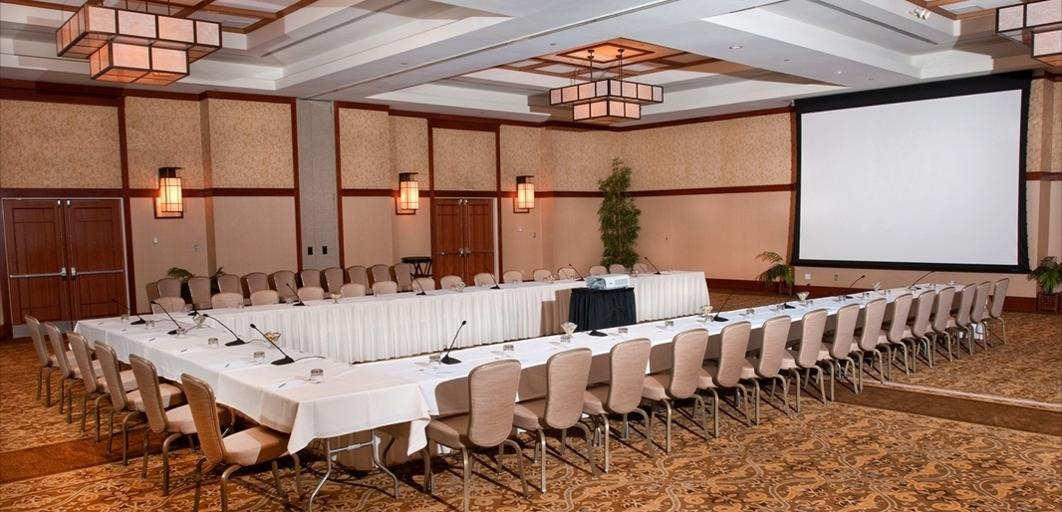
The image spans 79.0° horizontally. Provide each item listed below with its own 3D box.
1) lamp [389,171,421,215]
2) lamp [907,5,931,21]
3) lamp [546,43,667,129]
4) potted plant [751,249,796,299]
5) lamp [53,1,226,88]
[{"bbox_3d":[-3.820,-1.893,19.631,0.748,1.312,0.319,-6,8,-13],"label":"lamp"},{"bbox_3d":[8.878,-5.587,14.786,0.363,0.079,0.393,-3,-5,44],"label":"lamp"},{"bbox_3d":[2.020,-4.460,17.150,2.712,1.489,2.617,2,7,25],"label":"lamp"},{"bbox_3d":[7.836,0.539,20.540,1.485,1.277,1.436,-5,10,-17],"label":"potted plant"},{"bbox_3d":[-8.118,-4.191,13.260,2.985,1.016,1.860,0,-3,-35],"label":"lamp"}]
